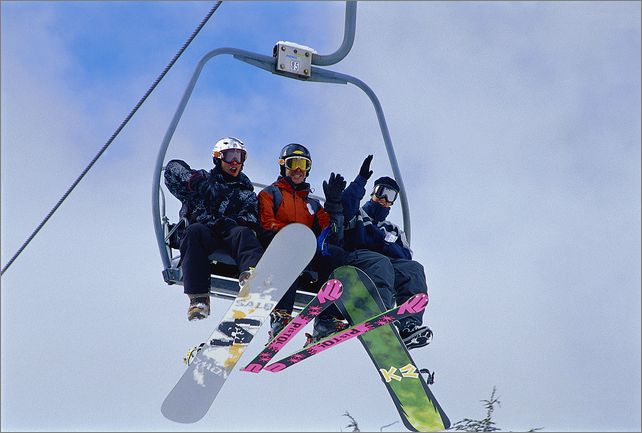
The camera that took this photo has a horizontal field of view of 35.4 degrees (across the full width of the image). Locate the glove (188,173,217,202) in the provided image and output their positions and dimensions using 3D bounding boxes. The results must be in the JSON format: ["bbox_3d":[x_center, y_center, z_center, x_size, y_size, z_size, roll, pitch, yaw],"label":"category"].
[{"bbox_3d":[-1.160,-0.297,9.883,0.214,0.135,0.305,-41,-95,18],"label":"glove"}]

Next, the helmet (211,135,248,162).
[{"bbox_3d":[-0.936,-0.633,10.333,0.332,0.362,0.374,4,-1,-12],"label":"helmet"}]

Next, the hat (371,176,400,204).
[{"bbox_3d":[0.685,-0.280,10.862,0.275,0.297,0.350,19,-10,-8],"label":"hat"}]

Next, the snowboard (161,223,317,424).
[{"bbox_3d":[-0.757,0.777,8.943,0.446,0.295,2.020,37,-96,-18],"label":"snowboard"}]

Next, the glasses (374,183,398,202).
[{"bbox_3d":[0.676,-0.251,10.702,0.189,0.123,0.240,19,-10,-3],"label":"glasses"}]

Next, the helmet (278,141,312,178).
[{"bbox_3d":[-0.267,-0.588,10.248,0.319,0.357,0.376,-4,-77,-20],"label":"helmet"}]
